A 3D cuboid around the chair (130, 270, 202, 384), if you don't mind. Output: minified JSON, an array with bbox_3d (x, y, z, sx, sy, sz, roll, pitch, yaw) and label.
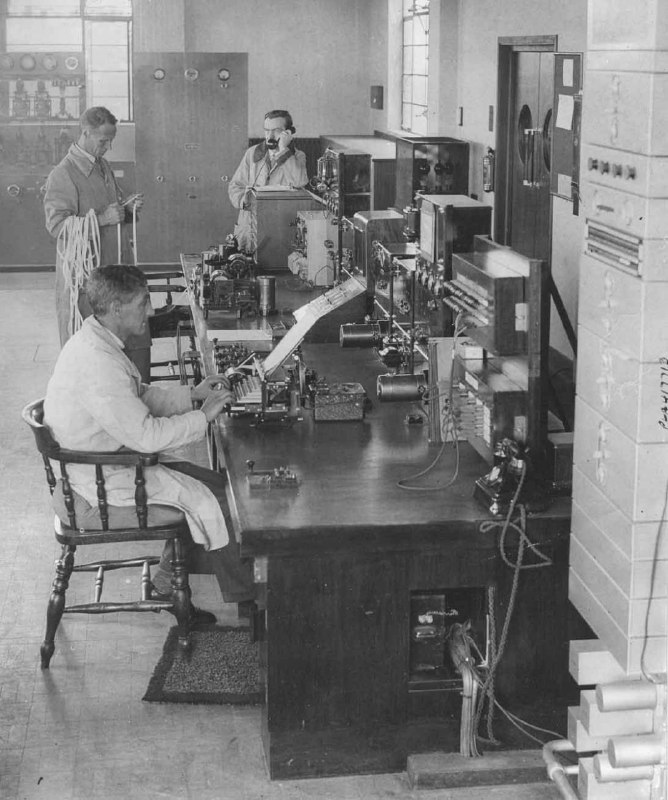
[{"bbox_3d":[-1.039,-0.518,5.312,0.407,0.828,0.480,3,-4,10],"label":"chair"}]

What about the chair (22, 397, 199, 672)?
[{"bbox_3d":[-0.685,0.424,3.070,0.607,1.189,0.753,-2,9,-9],"label":"chair"}]

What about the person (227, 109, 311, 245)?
[{"bbox_3d":[-0.451,-1.524,6.077,0.555,0.924,0.679,-1,10,-6],"label":"person"}]

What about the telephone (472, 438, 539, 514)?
[{"bbox_3d":[0.422,0.193,2.199,0.110,0.288,0.202,3,13,-1],"label":"telephone"}]

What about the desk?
[{"bbox_3d":[0.141,0.549,2.570,0.891,0.800,0.915,-3,11,-12],"label":"desk"}]
